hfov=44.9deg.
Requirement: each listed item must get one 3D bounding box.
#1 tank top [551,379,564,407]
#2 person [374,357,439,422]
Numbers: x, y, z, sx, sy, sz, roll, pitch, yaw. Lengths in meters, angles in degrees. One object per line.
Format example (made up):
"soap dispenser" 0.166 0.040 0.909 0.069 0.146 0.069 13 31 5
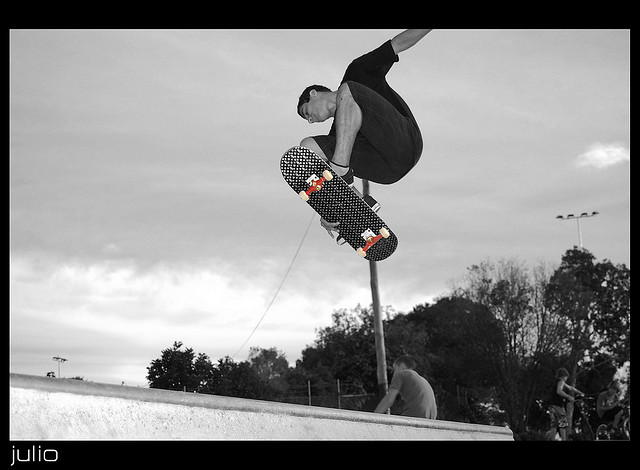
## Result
"tank top" 4.899 3.177 15.771 0.220 0.584 0.538 9 1 19
"person" 1.529 2.525 12.864 1.005 1.035 0.615 9 1 9
